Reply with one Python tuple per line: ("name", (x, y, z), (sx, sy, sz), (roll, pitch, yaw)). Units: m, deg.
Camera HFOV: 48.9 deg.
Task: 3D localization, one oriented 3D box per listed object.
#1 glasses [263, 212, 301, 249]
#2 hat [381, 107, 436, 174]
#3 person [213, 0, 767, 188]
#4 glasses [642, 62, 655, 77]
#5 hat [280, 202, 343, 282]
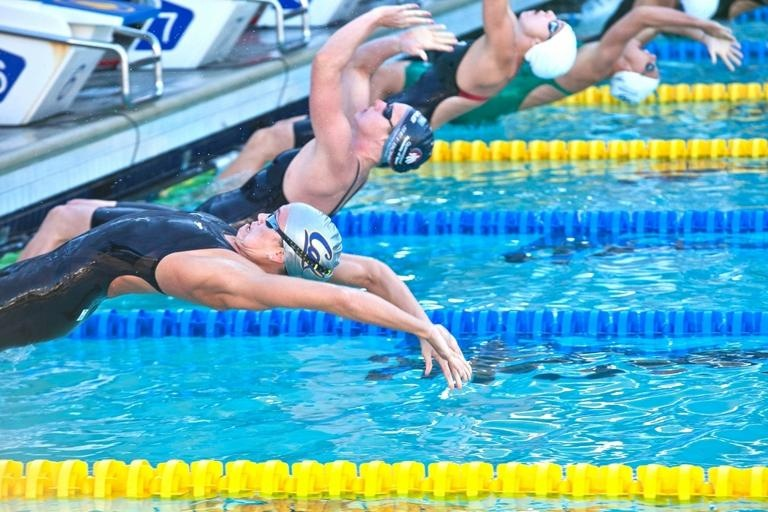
("glasses", (-0.385, -0.088, 3.205), (0.167, 0.043, 0.123), (36, 2, 3))
("hat", (0.174, -0.539, 3.993), (0.349, 0.262, 0.243), (11, 1, 12))
("person", (0.679, -1.004, 5.481), (3.020, 0.522, 0.939), (-5, 44, 3))
("glasses", (1.547, -1.085, 4.899), (0.086, 0.057, 0.024), (2, -16, -8))
("hat", (-0.271, -0.052, 3.292), (0.300, 0.265, 0.240), (-9, -10, 28))
